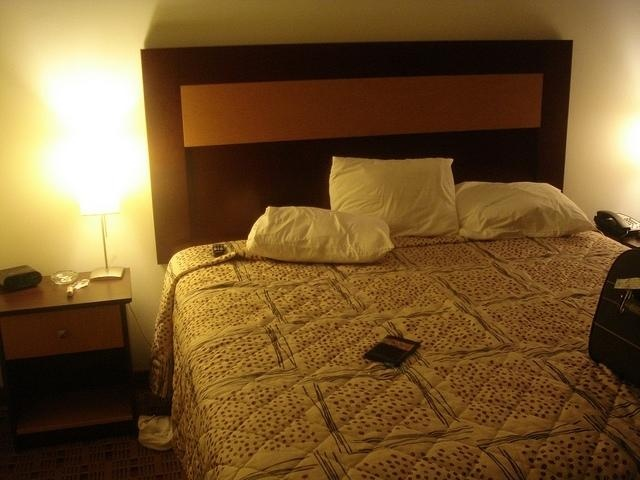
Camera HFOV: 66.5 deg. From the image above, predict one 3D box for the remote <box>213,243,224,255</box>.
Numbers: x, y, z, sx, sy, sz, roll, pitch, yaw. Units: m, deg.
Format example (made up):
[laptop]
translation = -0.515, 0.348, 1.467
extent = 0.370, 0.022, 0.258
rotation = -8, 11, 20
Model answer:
[remote]
translation = -0.537, 0.045, 2.626
extent = 0.045, 0.029, 0.068
rotation = 0, 23, -6

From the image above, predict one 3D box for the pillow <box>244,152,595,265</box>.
[pillow]
translation = 0.430, -0.247, 3.447
extent = 2.018, 1.171, 0.954
rotation = -3, 13, -7

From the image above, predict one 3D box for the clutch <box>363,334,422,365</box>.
[clutch]
translation = 0.262, 0.394, 1.751
extent = 0.122, 0.026, 0.170
rotation = 11, 19, 41
